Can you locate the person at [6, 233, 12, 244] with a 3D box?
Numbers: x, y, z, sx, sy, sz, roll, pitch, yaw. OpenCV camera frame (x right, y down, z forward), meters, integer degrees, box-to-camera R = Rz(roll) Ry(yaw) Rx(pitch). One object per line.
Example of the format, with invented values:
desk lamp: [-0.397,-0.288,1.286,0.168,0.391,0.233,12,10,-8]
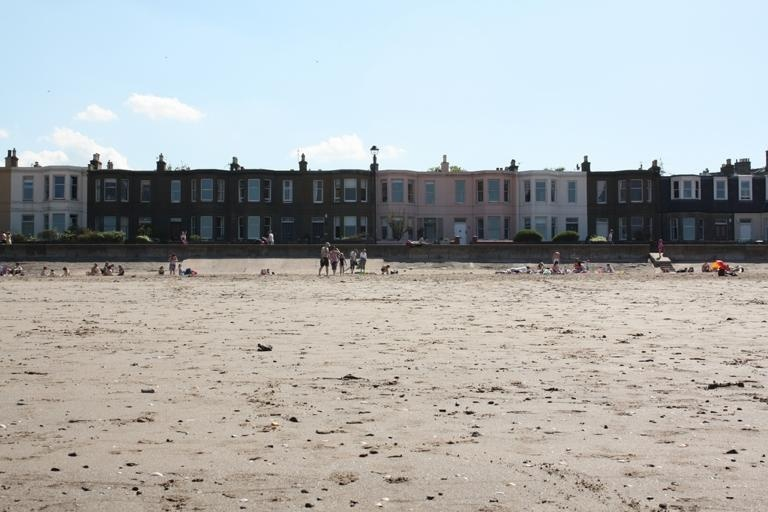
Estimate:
person: [-20.466,-0.964,67.494,0.296,0.627,2.660,3,-2,-17]

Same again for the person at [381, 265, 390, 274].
person: [0.083,0.657,58.715,0.404,0.484,1.200,0,0,-4]

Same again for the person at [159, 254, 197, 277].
person: [-9.882,0.506,58.759,1.058,1.236,2.643,-3,5,-36]

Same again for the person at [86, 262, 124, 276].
person: [-13.055,0.707,57.653,1.268,0.399,0.980,1,-1,24]
